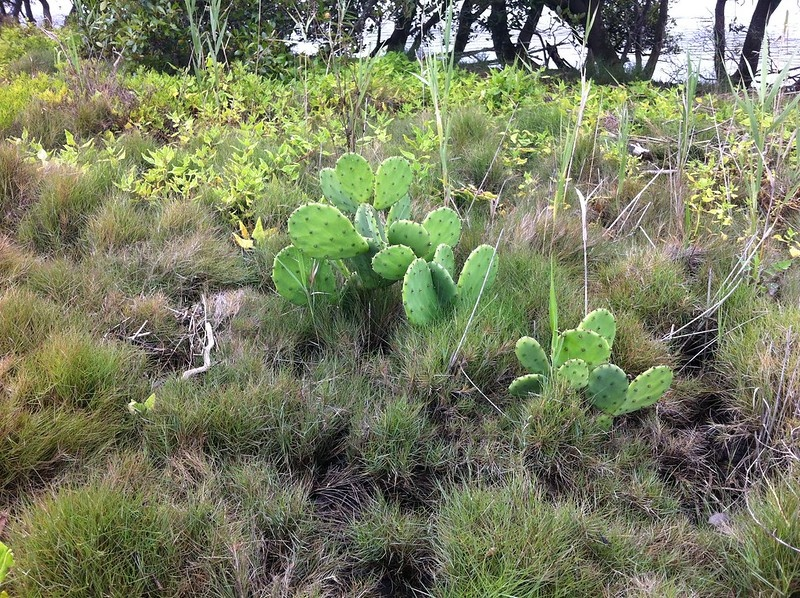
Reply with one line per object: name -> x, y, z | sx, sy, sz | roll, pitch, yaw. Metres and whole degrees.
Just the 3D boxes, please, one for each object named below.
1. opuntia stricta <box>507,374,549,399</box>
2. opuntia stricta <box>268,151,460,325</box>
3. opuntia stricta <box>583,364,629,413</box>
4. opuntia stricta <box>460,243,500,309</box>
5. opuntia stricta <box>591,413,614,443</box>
opuntia stricta -> 0.543, 0.372, 3.034 | 0.111, 0.101, 0.031 | -25, 35, 9
opuntia stricta -> -0.136, -0.289, 3.349 | 0.846, 0.743, 0.566 | 7, 14, 5
opuntia stricta -> 0.877, 0.381, 2.997 | 0.170, 0.237, 0.091 | 10, 14, 22
opuntia stricta -> 0.394, -0.115, 3.288 | 0.233, 0.270, 0.205 | -6, 18, -37
opuntia stricta -> 0.850, 0.538, 2.986 | 0.081, 0.132, 0.040 | 10, 3, -31
